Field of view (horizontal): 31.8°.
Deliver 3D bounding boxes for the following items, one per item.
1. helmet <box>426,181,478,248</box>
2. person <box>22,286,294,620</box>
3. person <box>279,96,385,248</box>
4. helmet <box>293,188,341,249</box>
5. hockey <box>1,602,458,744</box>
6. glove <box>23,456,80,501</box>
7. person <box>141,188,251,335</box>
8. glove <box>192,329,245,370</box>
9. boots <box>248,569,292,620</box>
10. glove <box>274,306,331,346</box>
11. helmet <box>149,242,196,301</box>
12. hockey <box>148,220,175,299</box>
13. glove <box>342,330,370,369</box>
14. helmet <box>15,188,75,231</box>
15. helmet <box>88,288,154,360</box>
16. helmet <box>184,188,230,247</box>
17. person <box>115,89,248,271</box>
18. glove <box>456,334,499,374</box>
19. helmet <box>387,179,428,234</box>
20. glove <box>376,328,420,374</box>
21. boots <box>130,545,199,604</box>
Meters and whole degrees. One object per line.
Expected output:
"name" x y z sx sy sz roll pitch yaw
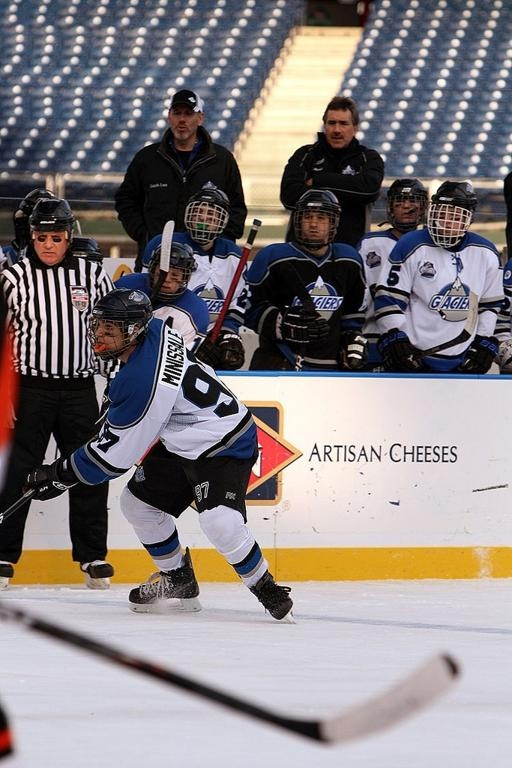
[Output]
"helmet" 0.847 -0.736 3.923 0.210 0.288 0.157 6 8 -1
"person" -0.291 0.240 2.863 0.838 1.054 0.393 4 9 -12
"person" 0.369 -0.914 4.489 0.484 0.920 0.325 7 19 8
"helmet" 0.255 -0.708 3.854 0.184 0.255 0.224 6 8 -1
"hockey" -0.059 0.661 2.060 0.984 0.120 0.131 13 -24 1
"glove" -0.663 0.303 2.909 0.099 0.061 0.224 -10 -11 -37
"person" -0.198 -0.490 3.923 0.474 0.663 0.401 15 13 38
"glove" -0.163 -0.136 3.742 0.178 0.060 0.175 29 31 24
"boots" 0.025 0.687 2.935 0.119 0.241 0.109 -36 63 -17
"glove" 0.190 -0.235 3.842 0.217 0.073 0.138 -1 46 -12
"helmet" -0.299 -0.420 3.401 0.198 0.211 0.214 7 43 -6
"hockey" -0.337 -0.458 3.221 0.047 0.406 0.047 13 39 5
"glove" 0.420 -0.155 3.938 0.128 0.145 0.152 5 -1 -16
"helmet" -0.946 -0.818 4.086 0.240 0.266 0.254 0 33 -9
"helmet" -0.424 -0.197 2.796 0.222 0.179 0.179 -6 17 -37
"helmet" -0.169 -0.713 3.809 0.278 0.220 0.196 11 15 24
"person" -0.376 -0.799 4.302 0.693 1.057 0.363 3 4 4
"glove" 0.987 -0.121 3.977 0.120 0.196 0.085 40 12 16
"helmet" 0.723 -0.869 4.360 0.229 0.240 0.271 1 0 12
"glove" 0.591 -0.148 3.880 0.085 0.132 0.203 -4 59 -55
"boots" -0.303 0.674 3.066 0.330 0.247 0.119 1 -17 -5
